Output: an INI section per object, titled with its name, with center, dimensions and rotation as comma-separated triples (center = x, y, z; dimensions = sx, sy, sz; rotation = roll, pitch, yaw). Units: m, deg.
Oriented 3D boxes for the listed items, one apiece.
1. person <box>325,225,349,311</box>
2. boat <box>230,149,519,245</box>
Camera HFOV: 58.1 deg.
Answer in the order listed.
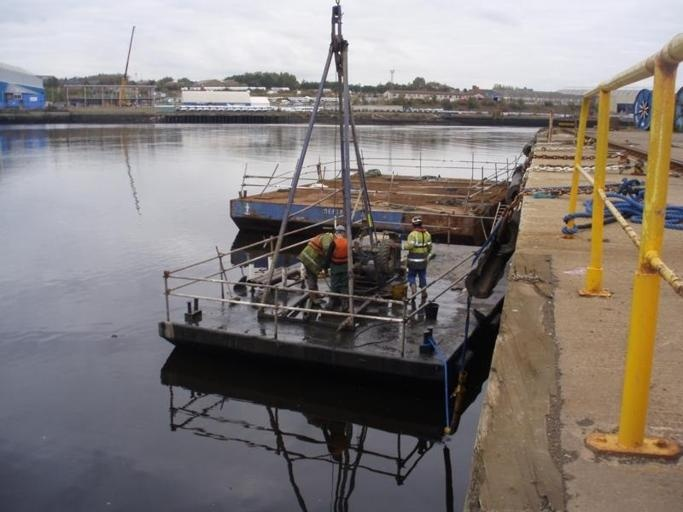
[person]
center = -0.061, 0.266, 11.202
dimensions = 0.394, 1.527, 0.800
rotation = 2, 12, 0
[boat]
center = 1.098, -2.371, 23.828
dimensions = 8.178, 2.465, 9.742
rotation = 2, 8, 15
